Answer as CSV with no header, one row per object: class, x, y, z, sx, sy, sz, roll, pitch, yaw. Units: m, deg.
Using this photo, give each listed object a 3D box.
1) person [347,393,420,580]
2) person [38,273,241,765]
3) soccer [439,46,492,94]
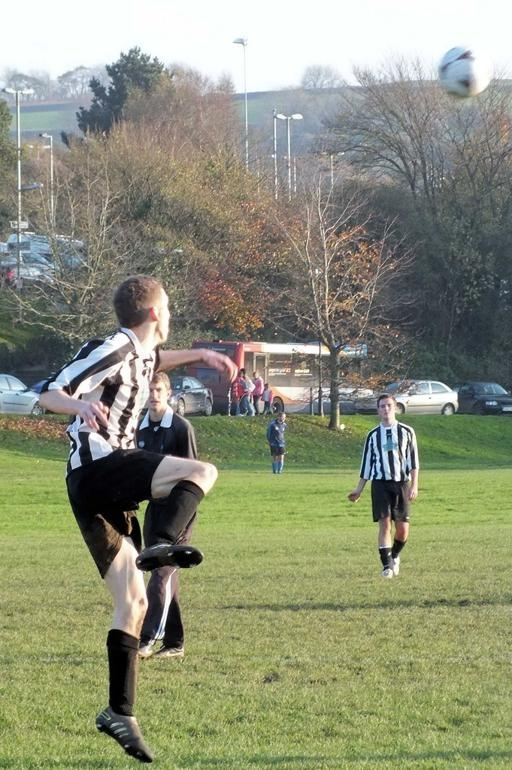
person,1.292,0.980,14.807,0.517,1.695,0.510,-1,4,-14
person,-0.751,0.770,9.445,0.835,2.863,0.869,3,4,37
soccer,2.520,-3.848,18.953,0.651,0.602,0.405,2,4,31
